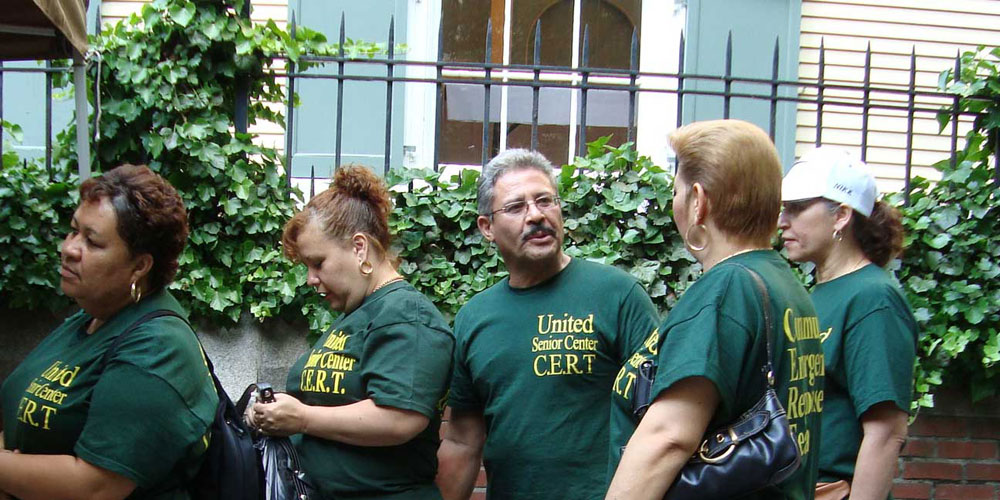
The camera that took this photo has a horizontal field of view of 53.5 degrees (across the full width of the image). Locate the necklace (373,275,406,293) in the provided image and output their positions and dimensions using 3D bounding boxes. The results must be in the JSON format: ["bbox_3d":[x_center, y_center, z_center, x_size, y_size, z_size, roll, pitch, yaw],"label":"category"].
[{"bbox_3d":[-0.909,0.270,8.093,0.157,0.040,0.142,-27,-2,10],"label":"necklace"}]

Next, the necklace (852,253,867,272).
[{"bbox_3d":[2.926,0.109,8.073,0.116,0.125,0.145,0,9,-15],"label":"necklace"}]

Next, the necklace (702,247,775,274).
[{"bbox_3d":[1.725,0.109,7.459,0.300,0.261,0.084,-8,-38,5],"label":"necklace"}]

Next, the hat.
[{"bbox_3d":[2.707,-0.584,8.297,0.789,0.413,0.545,17,5,-1],"label":"hat"}]
